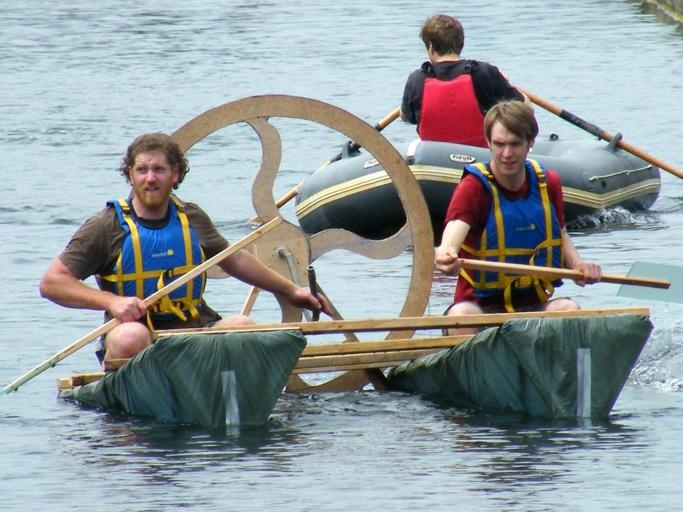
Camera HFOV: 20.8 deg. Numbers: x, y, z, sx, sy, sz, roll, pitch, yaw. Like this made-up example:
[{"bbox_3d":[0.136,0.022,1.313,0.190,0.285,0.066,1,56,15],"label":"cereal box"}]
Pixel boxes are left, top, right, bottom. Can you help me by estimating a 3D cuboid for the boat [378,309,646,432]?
[{"bbox_3d":[1.466,0.873,14.719,1.222,0.524,1.047,-13,-5,43],"label":"boat"}]
